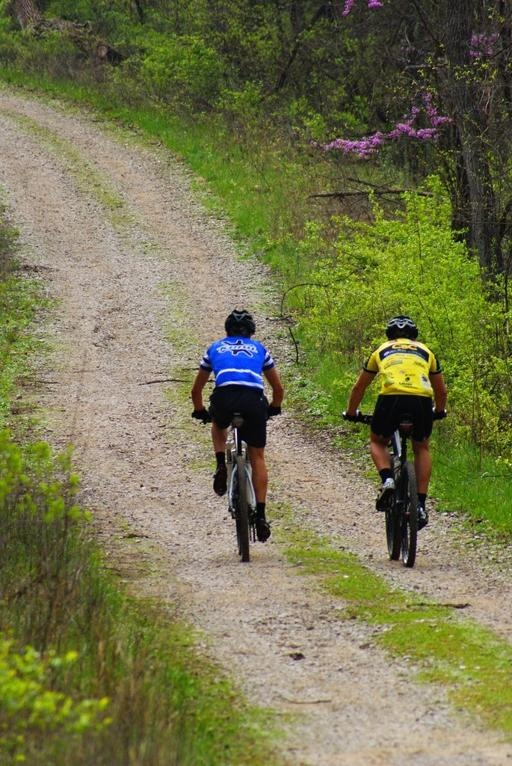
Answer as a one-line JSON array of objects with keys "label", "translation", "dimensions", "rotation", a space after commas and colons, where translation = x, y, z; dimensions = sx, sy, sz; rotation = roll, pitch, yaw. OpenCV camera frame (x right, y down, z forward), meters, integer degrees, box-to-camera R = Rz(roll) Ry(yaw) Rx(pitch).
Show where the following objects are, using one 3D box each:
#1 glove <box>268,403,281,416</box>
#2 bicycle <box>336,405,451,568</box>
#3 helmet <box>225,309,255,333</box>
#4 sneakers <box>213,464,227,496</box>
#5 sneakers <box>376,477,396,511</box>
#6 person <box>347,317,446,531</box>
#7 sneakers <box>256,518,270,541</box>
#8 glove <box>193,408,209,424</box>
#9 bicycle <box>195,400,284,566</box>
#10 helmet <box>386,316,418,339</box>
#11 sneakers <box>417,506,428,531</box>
[{"label": "glove", "translation": [0.145, 0.236, 10.810], "dimensions": [0.104, 0.106, 0.101], "rotation": [6, -3, -38]}, {"label": "bicycle", "translation": [1.147, 1.011, 10.337], "dimensions": [0.679, 0.879, 1.413], "rotation": [1, 10, 1]}, {"label": "helmet", "translation": [-0.131, -0.543, 10.663], "dimensions": [0.182, 0.220, 0.233], "rotation": [1, 8, 4]}, {"label": "sneakers", "translation": [-0.309, 0.842, 10.537], "dimensions": [0.102, 0.277, 0.116], "rotation": [2, 40, -3]}, {"label": "sneakers", "translation": [1.108, 0.956, 10.373], "dimensions": [0.113, 0.148, 0.338], "rotation": [5, -36, 0]}, {"label": "person", "translation": [1.263, 0.312, 10.506], "dimensions": [0.844, 1.667, 0.708], "rotation": [2, -1, 32]}, {"label": "sneakers", "translation": [0.061, 1.268, 10.301], "dimensions": [0.081, 0.233, 0.102], "rotation": [0, 10, 4]}, {"label": "glove", "translation": [-0.475, 0.287, 10.821], "dimensions": [0.111, 0.073, 0.154], "rotation": [4, -37, 15]}, {"label": "bicycle", "translation": [-0.208, 0.885, 10.595], "dimensions": [0.651, 1.241, 0.947], "rotation": [3, 0, -3]}, {"label": "helmet", "translation": [1.299, -0.499, 10.728], "dimensions": [0.187, 0.232, 0.240], "rotation": [6, 8, 16]}, {"label": "sneakers", "translation": [1.426, 1.123, 10.068], "dimensions": [0.128, 0.186, 0.177], "rotation": [-6, -18, 14]}]
